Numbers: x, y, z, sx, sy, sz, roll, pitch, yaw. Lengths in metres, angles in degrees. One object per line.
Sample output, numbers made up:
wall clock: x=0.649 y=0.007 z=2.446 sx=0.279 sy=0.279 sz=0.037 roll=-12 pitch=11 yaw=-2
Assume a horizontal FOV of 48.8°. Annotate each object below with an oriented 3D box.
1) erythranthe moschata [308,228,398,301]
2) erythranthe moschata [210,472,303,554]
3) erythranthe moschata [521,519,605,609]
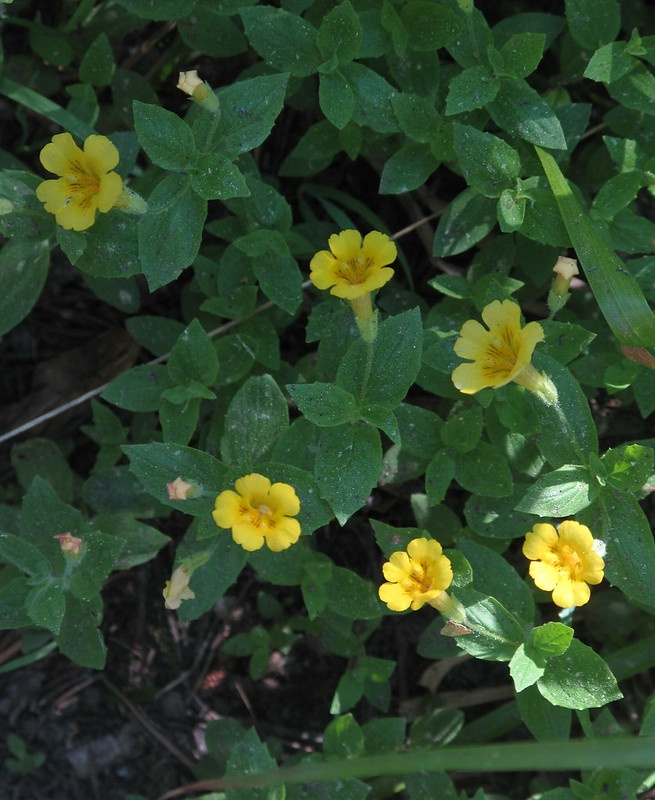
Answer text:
erythranthe moschata: x=0.064 y=-0.431 z=2.620 sx=0.268 sy=0.376 sz=0.291 roll=15 pitch=65 yaw=-5
erythranthe moschata: x=-0.226 y=0.388 z=2.478 sx=0.254 sy=0.299 sz=0.262 roll=25 pitch=42 yaw=14
erythranthe moschata: x=0.797 y=0.547 z=2.435 sx=0.182 sy=0.216 sz=0.290 roll=-17 pitch=70 yaw=-17
